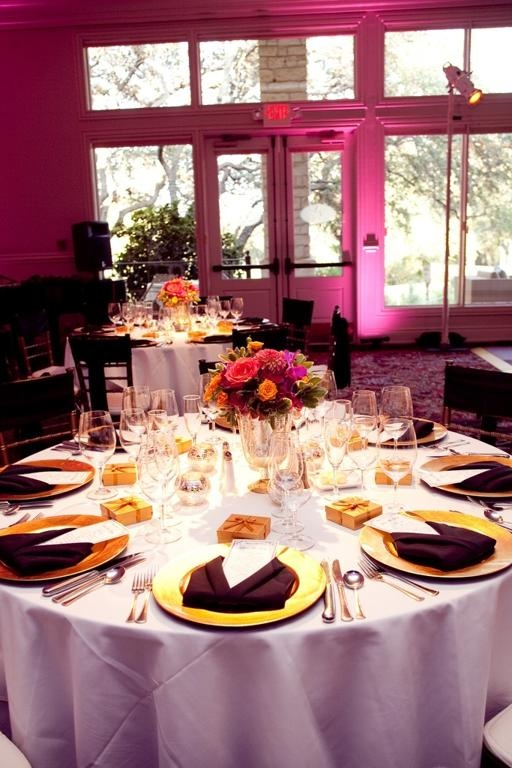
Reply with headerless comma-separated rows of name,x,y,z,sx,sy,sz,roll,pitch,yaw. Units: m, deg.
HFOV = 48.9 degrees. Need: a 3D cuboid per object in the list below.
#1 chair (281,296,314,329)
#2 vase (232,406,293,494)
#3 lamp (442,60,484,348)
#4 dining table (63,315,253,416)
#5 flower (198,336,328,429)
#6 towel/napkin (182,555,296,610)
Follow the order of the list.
chair,0.345,-0.591,4.787,0.275,0.363,0.302,0,5,10
vase,0.027,0.162,1.399,0.135,0.196,0.130,-2,-2,-8
lamp,2.529,-2.135,7.088,0.394,3.394,1.518,1,13,18
dining table,-0.614,-0.106,3.626,0.704,0.434,0.680,0,6,2
flower,0.025,0.006,1.375,0.259,0.169,0.245,3,16,19
towel/napkin,-0.022,0.302,0.861,0.162,0.031,0.146,1,12,18
